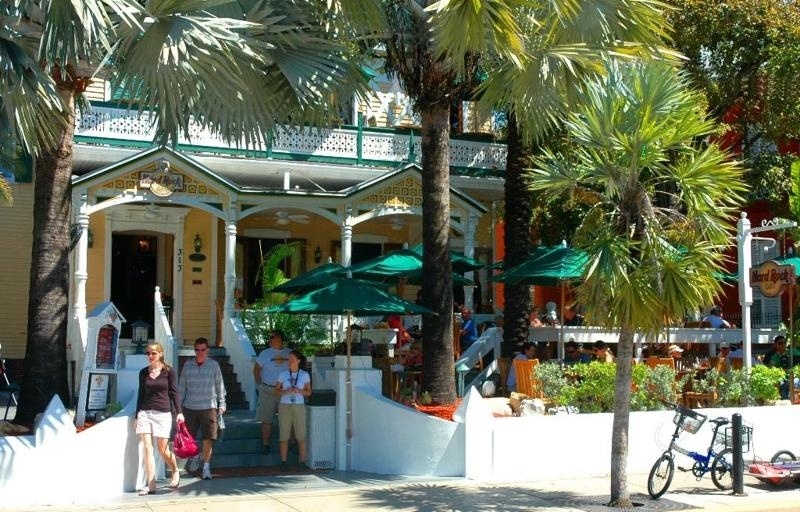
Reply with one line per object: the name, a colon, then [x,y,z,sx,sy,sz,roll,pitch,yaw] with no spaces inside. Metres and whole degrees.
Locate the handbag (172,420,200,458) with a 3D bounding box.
handbag: [-4.017,3.419,16.864,0.332,0.684,0.446,-8,-5,43]

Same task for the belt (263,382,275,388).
belt: [-2.688,2.642,18.490,0.322,0.088,0.140,-1,-4,25]

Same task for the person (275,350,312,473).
person: [-2.180,3.053,18.140,0.689,2.300,0.580,3,-4,-27]

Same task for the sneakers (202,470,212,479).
sneakers: [-3.725,4.205,17.362,0.194,0.155,0.257,2,-4,-14]

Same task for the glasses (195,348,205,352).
glasses: [-3.860,1.821,17.471,0.182,0.077,0.088,2,-4,-21]

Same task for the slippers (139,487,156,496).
slippers: [-4.634,4.306,16.502,0.139,0.104,0.277,-5,-17,20]

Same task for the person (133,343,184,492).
person: [-4.486,3.009,16.863,0.813,2.739,0.871,4,-5,-43]

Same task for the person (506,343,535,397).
person: [2.692,2.536,20.425,0.629,1.164,1.482,1,-4,7]
